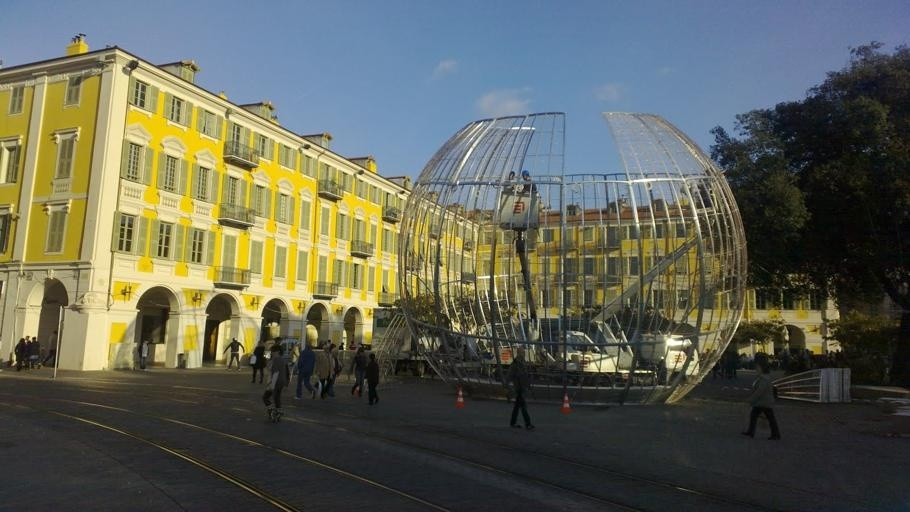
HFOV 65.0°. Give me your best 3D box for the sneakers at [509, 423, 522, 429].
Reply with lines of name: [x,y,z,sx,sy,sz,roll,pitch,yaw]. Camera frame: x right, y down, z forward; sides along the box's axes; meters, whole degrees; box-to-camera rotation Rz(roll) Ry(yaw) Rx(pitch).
sneakers: [2.034,5.588,23.698,0.394,0.235,0.134,-4,2,-9]

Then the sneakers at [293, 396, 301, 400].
sneakers: [-6.288,5.594,28.536,0.288,0.108,0.102,3,4,28]

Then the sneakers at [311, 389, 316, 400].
sneakers: [-5.690,5.549,28.856,0.156,0.314,0.162,1,4,31]
